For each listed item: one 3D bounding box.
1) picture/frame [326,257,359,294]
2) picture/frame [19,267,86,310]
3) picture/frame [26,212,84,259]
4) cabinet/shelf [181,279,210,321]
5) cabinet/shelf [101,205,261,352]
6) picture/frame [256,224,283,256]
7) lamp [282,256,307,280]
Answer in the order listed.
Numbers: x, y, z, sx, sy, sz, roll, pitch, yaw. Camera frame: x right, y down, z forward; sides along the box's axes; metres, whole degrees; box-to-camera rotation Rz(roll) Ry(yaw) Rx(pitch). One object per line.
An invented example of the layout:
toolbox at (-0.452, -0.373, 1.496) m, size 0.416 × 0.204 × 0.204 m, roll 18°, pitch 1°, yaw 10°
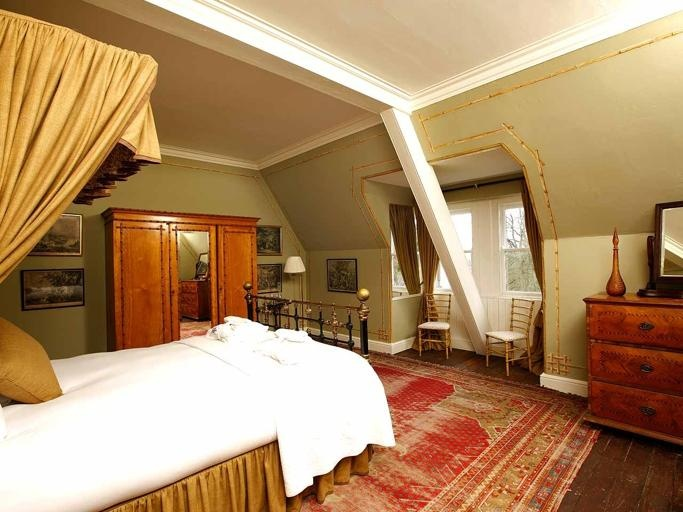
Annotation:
picture/frame at (0.029, 0.350, 7.584) m, size 0.031 × 0.551 × 0.634 m, roll -3°, pitch 3°, yaw -35°
picture/frame at (-3.841, 0.430, 5.663) m, size 0.575 × 0.506 × 0.039 m, roll -1°, pitch -1°, yaw -42°
picture/frame at (-3.069, -0.197, 4.614) m, size 0.055 × 0.566 × 0.579 m, roll -3°, pitch 3°, yaw 41°
cabinet/shelf at (-2.147, 0.635, 6.242) m, size 0.561 × 0.573 × 0.345 m, roll -2°, pitch -4°, yaw 37°
cabinet/shelf at (-2.265, 0.332, 5.829) m, size 2.022 × 2.002 × 0.646 m, roll -2°, pitch 0°, yaw -43°
picture/frame at (-1.348, -0.276, 7.865) m, size 0.552 × 0.520 × 0.069 m, roll -3°, pitch -3°, yaw -45°
lamp at (-0.821, 0.244, 7.676) m, size 0.374 × 0.377 × 0.374 m, roll -10°, pitch 17°, yaw -25°
